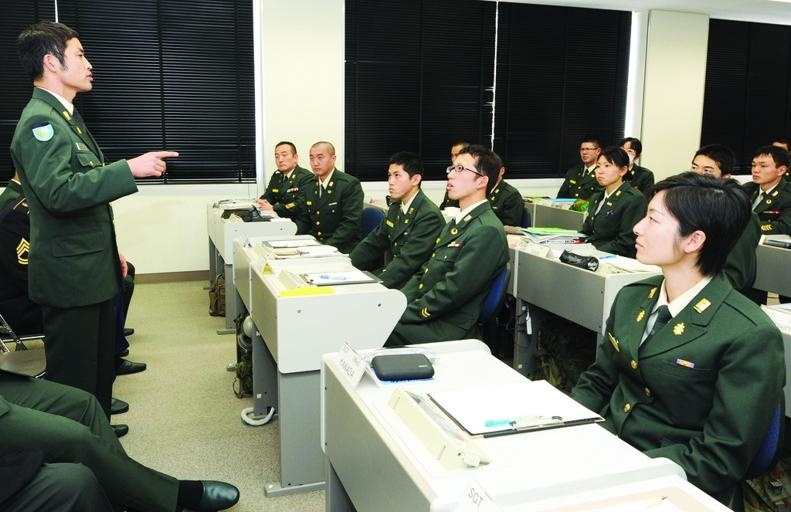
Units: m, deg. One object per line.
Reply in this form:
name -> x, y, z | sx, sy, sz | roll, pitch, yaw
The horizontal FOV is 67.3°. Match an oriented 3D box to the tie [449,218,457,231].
tie -> 0.319, -0.182, 3.366 | 0.020, 0.053, 0.040 | 6, -19, -14

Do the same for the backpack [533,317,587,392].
backpack -> 1.011, 0.595, 3.639 | 0.128, 0.391, 0.419 | 5, 13, -46

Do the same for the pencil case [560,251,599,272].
pencil case -> 1.010, 0.028, 3.272 | 0.134, 0.043, 0.100 | 13, 12, 12

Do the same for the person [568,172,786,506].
person -> 0.993, 0.282, 1.997 | 0.542, 1.074, 0.491 | 3, 18, 19

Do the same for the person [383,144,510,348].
person -> 0.289, -0.076, 3.252 | 0.640, 0.990, 0.686 | 0, 17, 9

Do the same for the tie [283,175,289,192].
tie -> -1.068, -0.729, 5.778 | 0.027, 0.101, 0.078 | 11, -4, -39
